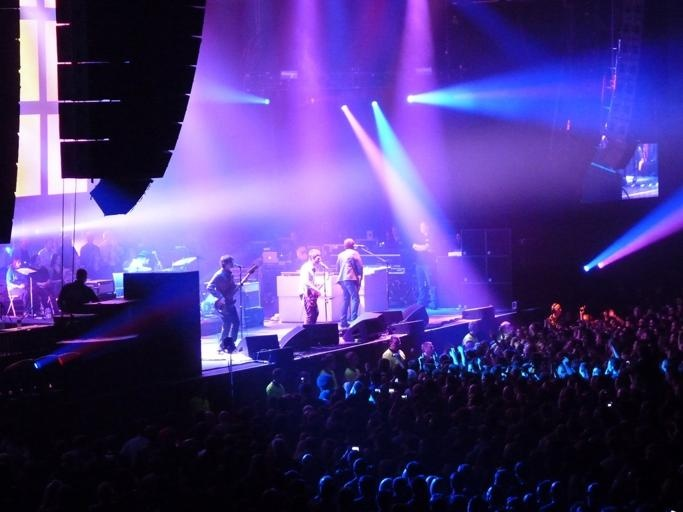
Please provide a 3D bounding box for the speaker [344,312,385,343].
[{"bbox_3d":[0.435,1.206,12.130,0.506,0.463,0.661,5,6,36],"label":"speaker"}]

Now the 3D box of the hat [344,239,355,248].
[{"bbox_3d":[0.148,-0.236,13.562,0.194,0.215,0.219,5,4,41],"label":"hat"}]
